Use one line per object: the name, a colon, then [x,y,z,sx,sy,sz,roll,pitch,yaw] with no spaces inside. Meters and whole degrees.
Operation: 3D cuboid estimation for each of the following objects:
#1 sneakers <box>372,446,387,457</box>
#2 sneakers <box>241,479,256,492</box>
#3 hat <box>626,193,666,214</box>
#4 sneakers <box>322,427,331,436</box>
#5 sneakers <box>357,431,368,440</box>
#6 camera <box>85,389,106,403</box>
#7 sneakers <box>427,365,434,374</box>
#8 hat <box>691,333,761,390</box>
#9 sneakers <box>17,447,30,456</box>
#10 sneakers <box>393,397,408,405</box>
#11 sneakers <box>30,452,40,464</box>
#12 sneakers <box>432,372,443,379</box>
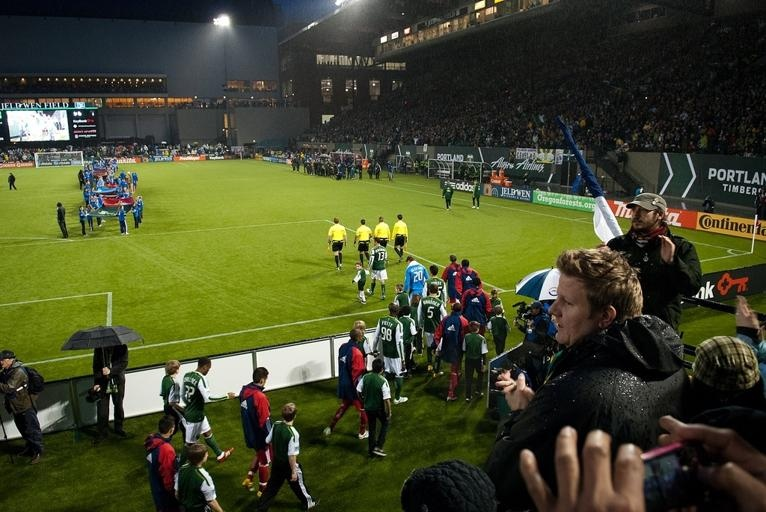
sneakers: [-0.084,3.695,11.324,0.300,0.143,0.113,15,-4,3]
sneakers: [-2.351,4.009,10.517,0.251,0.259,0.150,-1,5,-5]
hat: [3.204,-0.629,7.158,0.378,0.142,0.261,1,7,-25]
sneakers: [-1.137,3.510,12.003,0.174,0.187,0.152,-2,4,-8]
sneakers: [-0.413,3.533,11.942,0.195,0.159,0.209,-1,11,-9]
camera: [-5.772,2.808,11.989,0.230,0.133,0.333,6,13,43]
sneakers: [1.156,2.791,14.736,0.073,0.116,0.149,-21,-15,-19]
hat: [2.921,0.891,5.171,0.477,0.302,0.489,-9,43,4]
sneakers: [-7.041,3.830,11.694,0.192,0.189,0.083,25,-11,35]
sneakers: [0.381,3.159,13.135,0.332,0.134,0.125,-14,32,-2]
sneakers: [-6.652,3.855,11.447,0.141,0.161,0.145,-3,11,-16]
sneakers: [1.317,2.875,14.512,0.296,0.102,0.127,-6,10,-17]
